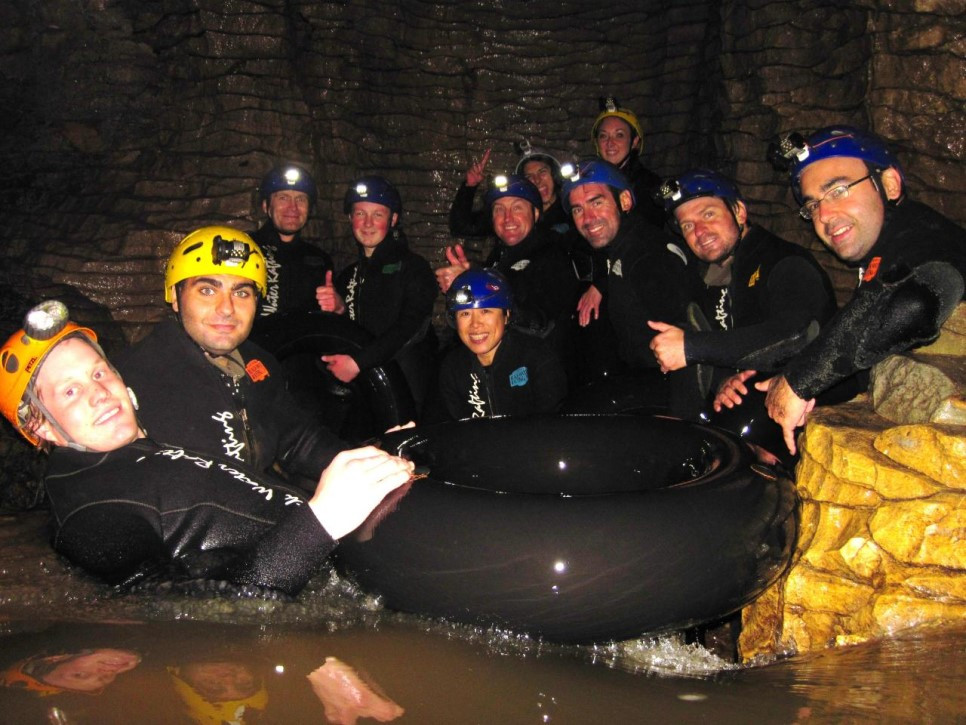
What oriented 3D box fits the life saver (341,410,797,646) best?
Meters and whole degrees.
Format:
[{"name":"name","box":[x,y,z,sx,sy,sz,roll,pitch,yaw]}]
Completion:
[{"name":"life saver","box":[0.398,0.682,4.651,2.026,0.621,1.451,1,18,2]}]

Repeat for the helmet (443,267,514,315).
[{"name":"helmet","box":[-0.002,-0.445,6.282,0.525,0.341,0.364,2,12,18]}]

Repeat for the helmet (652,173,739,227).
[{"name":"helmet","box":[1.257,-1.061,6.164,0.398,0.235,0.504,-12,-10,15]}]

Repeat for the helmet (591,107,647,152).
[{"name":"helmet","box":[1.131,-2.070,8.584,0.414,0.477,0.452,2,21,23]}]

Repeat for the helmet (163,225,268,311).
[{"name":"helmet","box":[-1.436,-0.508,5.188,0.541,0.477,0.619,3,4,-21]}]
